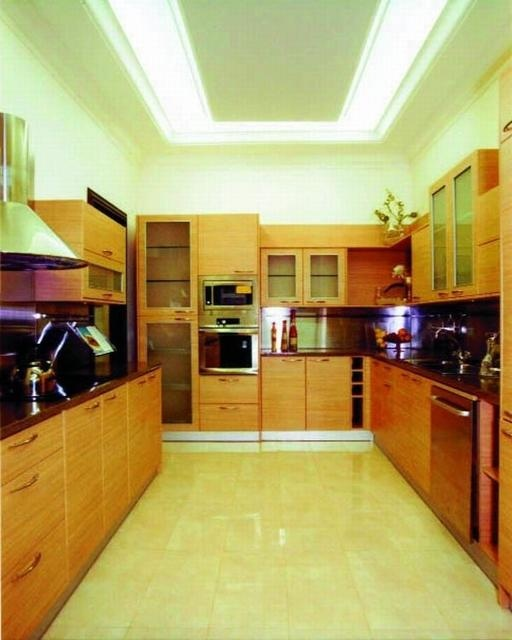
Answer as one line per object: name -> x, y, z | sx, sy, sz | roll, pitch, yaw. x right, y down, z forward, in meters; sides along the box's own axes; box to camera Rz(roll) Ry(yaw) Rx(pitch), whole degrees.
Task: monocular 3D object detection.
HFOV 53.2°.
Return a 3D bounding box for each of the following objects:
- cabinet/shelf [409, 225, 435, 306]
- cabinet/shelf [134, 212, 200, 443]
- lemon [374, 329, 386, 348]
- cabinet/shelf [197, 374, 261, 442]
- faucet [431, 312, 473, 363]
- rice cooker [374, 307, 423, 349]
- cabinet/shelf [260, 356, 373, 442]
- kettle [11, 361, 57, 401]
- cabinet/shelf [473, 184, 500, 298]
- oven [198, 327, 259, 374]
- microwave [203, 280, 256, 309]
cabinet/shelf -> 1.134, -0.372, 3.472 | 0.097, 0.413, 0.305 | 2, 3, 3
cabinet/shelf -> -0.705, 0.028, 3.986 | 0.524, 1.603, 0.430 | 2, 2, -15
lemon -> 1.084, 0.160, 4.461 | 0.046, 0.146, 0.103 | 0, -1, -11
cabinet/shelf -> -0.192, 0.637, 4.130 | 0.561, 0.533, 0.388 | 0, 3, 1
faucet -> 1.381, 0.133, 3.602 | 0.156, 0.296, 0.259 | 3, 1, -6
rice cooker -> 1.250, 0.071, 4.463 | 0.413, 0.334, 0.179 | 7, 3, 39
cabinet/shelf -> 0.407, 0.476, 4.116 | 0.866, 0.794, 0.450 | 0, 0, 2
kettle -> -0.934, 0.258, 2.146 | 0.116, 0.137, 0.189 | 0, -6, 6
cabinet/shelf -> 1.190, -0.397, 2.620 | 0.098, 0.440, 0.234 | 2, 5, 11
oven -> -0.209, 0.241, 4.171 | 0.434, 0.342, 0.428 | 0, 1, 3
microwave -> -0.221, -0.197, 3.954 | 0.322, 0.207, 0.210 | 0, -5, 0
